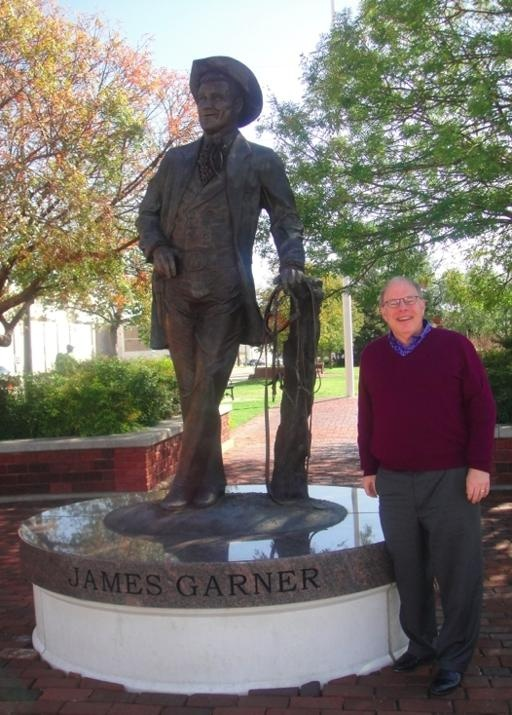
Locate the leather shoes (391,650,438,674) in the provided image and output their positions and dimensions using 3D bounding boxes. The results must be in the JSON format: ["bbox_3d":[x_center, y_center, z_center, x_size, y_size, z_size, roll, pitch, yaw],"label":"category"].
[{"bbox_3d":[0.729,1.393,3.211,0.223,0.070,0.073,4,-10,-33],"label":"leather shoes"}]

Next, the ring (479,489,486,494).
[{"bbox_3d":[0.958,0.567,2.939,0.016,0.014,0.016,-4,-5,0],"label":"ring"}]

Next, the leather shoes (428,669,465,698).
[{"bbox_3d":[0.798,1.362,2.912,0.064,0.060,0.171,-4,-9,33],"label":"leather shoes"}]

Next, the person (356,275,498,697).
[{"bbox_3d":[0.791,0.525,3.172,0.457,1.495,0.623,-3,1,-12],"label":"person"}]

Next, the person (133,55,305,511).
[{"bbox_3d":[-0.205,-0.421,3.948,0.963,2.324,0.536,-3,1,3],"label":"person"}]
